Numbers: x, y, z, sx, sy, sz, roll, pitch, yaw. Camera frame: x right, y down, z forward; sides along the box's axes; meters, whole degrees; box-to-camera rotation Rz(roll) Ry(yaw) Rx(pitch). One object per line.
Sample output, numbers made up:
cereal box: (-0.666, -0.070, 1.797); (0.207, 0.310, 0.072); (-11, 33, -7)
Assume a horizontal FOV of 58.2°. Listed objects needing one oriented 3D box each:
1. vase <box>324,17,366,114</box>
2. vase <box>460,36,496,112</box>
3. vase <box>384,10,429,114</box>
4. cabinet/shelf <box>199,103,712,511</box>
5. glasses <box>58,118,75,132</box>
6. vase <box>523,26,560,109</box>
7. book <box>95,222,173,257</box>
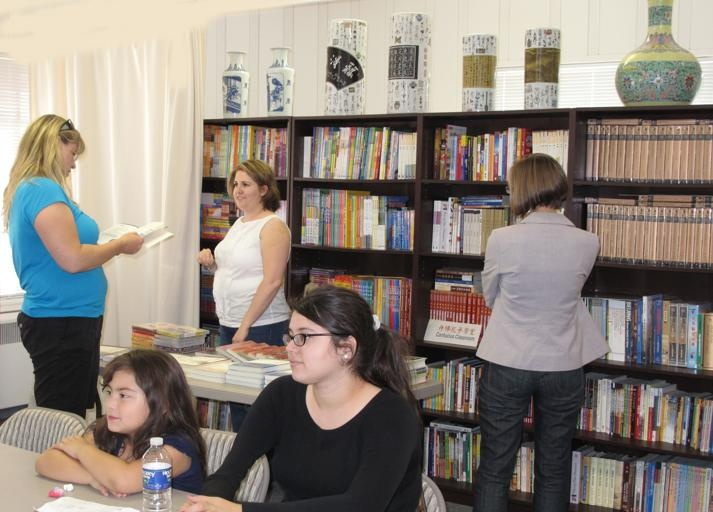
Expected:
vase: (-0.076, -1.305, 4.463); (0.270, 0.641, 0.187); (1, 6, -2)
vase: (0.787, -1.178, 4.132); (0.210, 0.480, 0.115); (2, 6, 8)
vase: (0.352, -1.285, 4.285); (0.267, 0.647, 0.169); (2, 6, 4)
cabinet/shelf: (0.603, 0.307, 4.442); (3.348, 2.547, 0.671); (4, 6, 27)
glasses: (-1.551, -0.695, 3.428); (0.025, 0.094, 0.090); (5, 4, 14)
vase: (1.167, -1.172, 4.038); (0.201, 0.487, 0.201); (-3, 6, -35)
book: (-1.280, -0.139, 3.823); (0.333, 0.132, 0.354); (9, 22, 29)
